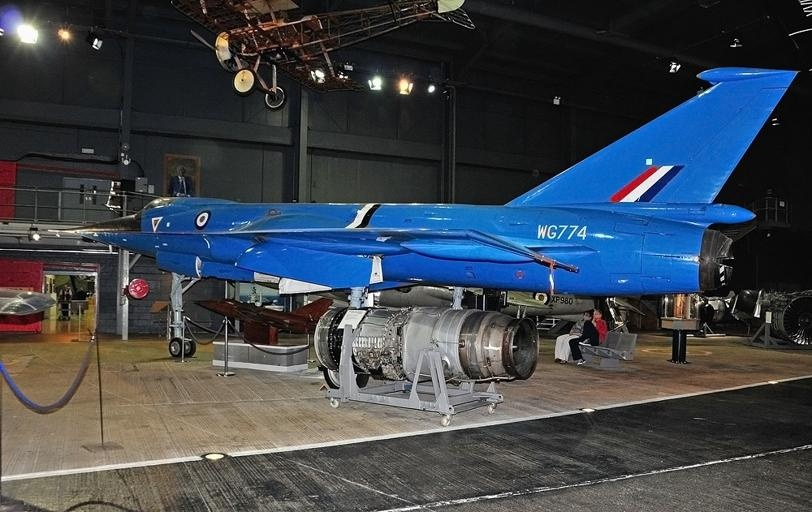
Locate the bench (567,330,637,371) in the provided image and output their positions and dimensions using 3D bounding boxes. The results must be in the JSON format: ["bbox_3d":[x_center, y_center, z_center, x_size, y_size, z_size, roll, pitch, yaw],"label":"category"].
[{"bbox_3d":[5.664,2.642,16.862,1.089,0.898,2.174,4,-6,-18],"label":"bench"}]

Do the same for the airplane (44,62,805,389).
[{"bbox_3d":[0.318,-0.824,14.309,13.964,3.360,7.925,4,4,25],"label":"airplane"}]
